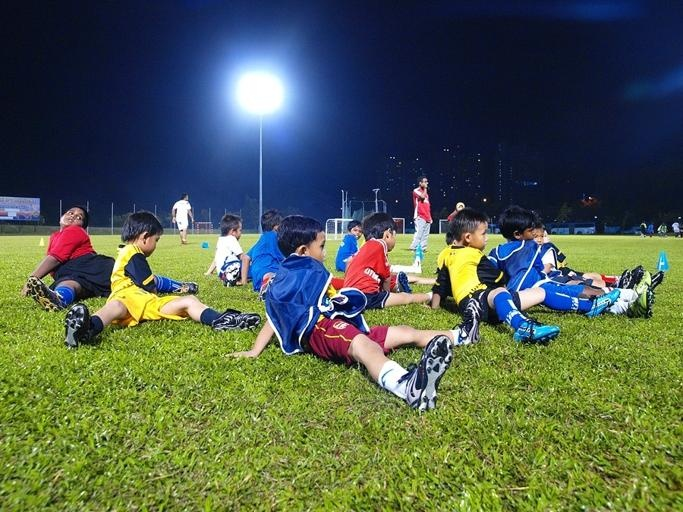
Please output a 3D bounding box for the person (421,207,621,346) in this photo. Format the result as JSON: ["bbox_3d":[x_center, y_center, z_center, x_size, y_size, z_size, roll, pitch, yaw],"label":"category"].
[{"bbox_3d":[1.662,0.118,4.464,1.542,1.119,0.952,1,-8,18],"label":"person"}]

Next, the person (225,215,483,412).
[{"bbox_3d":[0.132,0.302,3.443,1.546,1.133,0.991,8,11,23],"label":"person"}]

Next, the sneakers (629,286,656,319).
[{"bbox_3d":[2.672,0.377,4.325,0.151,0.370,0.129,-4,28,37],"label":"sneakers"}]

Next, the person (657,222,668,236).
[{"bbox_3d":[24.447,-1.996,37.027,0.984,0.551,1.813,-11,16,37],"label":"person"}]

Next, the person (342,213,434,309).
[{"bbox_3d":[0.585,0.064,5.304,1.123,1.012,0.618,4,4,-32],"label":"person"}]

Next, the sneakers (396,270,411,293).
[{"bbox_3d":[0.740,0.318,5.797,0.129,0.327,0.106,-12,2,34],"label":"sneakers"}]

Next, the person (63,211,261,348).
[{"bbox_3d":[-1.534,0.111,4.093,0.820,0.815,1.595,10,12,18],"label":"person"}]

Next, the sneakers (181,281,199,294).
[{"bbox_3d":[-1.826,0.388,5.908,0.227,0.112,0.112,1,1,-6],"label":"sneakers"}]

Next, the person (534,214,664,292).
[{"bbox_3d":[2.763,0.150,5.648,1.501,0.966,0.960,-1,3,25],"label":"person"}]

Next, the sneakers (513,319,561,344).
[{"bbox_3d":[1.413,0.561,3.560,0.312,0.171,0.159,-18,-11,39],"label":"sneakers"}]

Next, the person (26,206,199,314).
[{"bbox_3d":[-2.605,-0.004,5.510,1.077,1.100,1.889,-1,-3,40],"label":"person"}]

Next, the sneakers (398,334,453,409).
[{"bbox_3d":[0.500,0.682,2.869,0.178,0.541,0.236,30,-16,-13],"label":"sneakers"}]

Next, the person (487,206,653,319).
[{"bbox_3d":[2.192,0.014,4.798,1.237,0.901,0.557,6,8,25],"label":"person"}]

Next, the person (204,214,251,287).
[{"bbox_3d":[-1.574,-0.075,7.282,0.587,0.986,0.947,9,-4,-37],"label":"person"}]

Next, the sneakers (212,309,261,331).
[{"bbox_3d":[-0.870,0.541,4.116,0.410,0.213,0.159,-5,-1,-16],"label":"sneakers"}]
